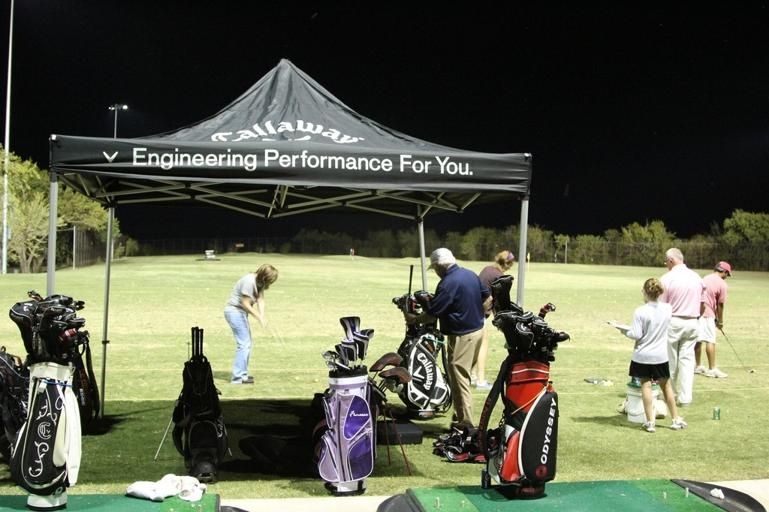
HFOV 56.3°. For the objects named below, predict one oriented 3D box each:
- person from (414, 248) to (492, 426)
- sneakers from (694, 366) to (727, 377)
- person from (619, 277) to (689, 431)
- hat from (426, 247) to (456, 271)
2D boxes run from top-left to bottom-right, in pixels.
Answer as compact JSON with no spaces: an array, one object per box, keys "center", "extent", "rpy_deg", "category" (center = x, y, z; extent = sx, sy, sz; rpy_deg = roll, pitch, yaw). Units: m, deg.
[{"center":[1.096,1.259,10.868],"extent":[0.838,2.738,0.412],"rpy_deg":[0,-2,4],"category":"person"},{"center":[6.865,2.441,15.139],"extent":[0.640,0.258,0.232],"rpy_deg":[-7,-9,33],"category":"sneakers"},{"center":[4.317,1.616,11.661],"extent":[1.117,2.488,0.565],"rpy_deg":[2,-2,-42],"category":"person"},{"center":[0.903,0.042,10.975],"extent":[0.374,0.270,0.269],"rpy_deg":[16,-8,-28],"category":"hat"}]
